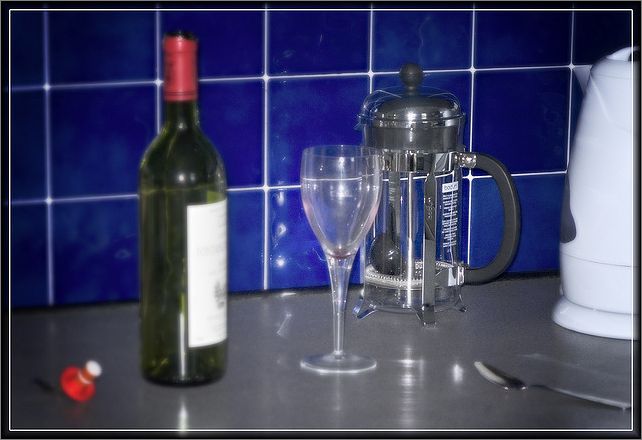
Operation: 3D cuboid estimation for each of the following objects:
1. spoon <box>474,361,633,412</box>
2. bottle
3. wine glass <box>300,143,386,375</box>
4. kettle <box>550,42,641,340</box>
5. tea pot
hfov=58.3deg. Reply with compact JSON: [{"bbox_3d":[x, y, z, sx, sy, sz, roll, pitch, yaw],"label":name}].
[{"bbox_3d":[0.311,0.231,0.788,0.203,0.032,0.046,2,11,25],"label":"spoon"},{"bbox_3d":[-0.172,-0.005,0.782,0.120,0.477,0.123,2,12,0],"label":"bottle"},{"bbox_3d":[0.030,0.056,0.887,0.148,0.350,0.106,1,5,6],"label":"wine glass"},{"bbox_3d":[0.456,-0.048,0.952,0.127,0.460,0.130,1,10,22],"label":"kettle"},{"bbox_3d":[0.193,-0.042,1.013,0.298,0.419,0.196,5,10,27],"label":"tea pot"}]
